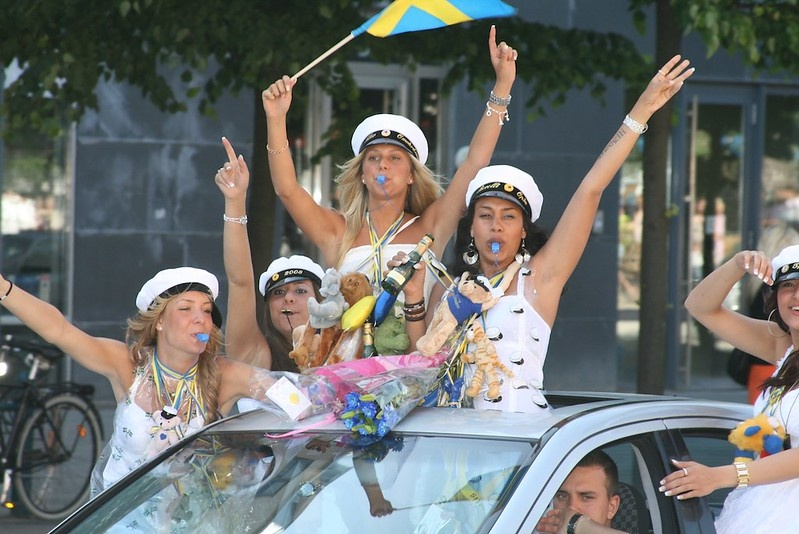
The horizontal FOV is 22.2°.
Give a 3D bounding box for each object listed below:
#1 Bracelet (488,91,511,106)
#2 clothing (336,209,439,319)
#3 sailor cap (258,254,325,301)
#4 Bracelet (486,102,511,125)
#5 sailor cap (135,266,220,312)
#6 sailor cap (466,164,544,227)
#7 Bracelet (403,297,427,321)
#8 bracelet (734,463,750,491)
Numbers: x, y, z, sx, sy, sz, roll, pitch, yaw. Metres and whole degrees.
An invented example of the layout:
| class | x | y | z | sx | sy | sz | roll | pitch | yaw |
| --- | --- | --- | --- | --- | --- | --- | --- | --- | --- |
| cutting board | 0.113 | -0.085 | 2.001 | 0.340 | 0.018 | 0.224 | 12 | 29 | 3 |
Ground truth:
| class | x | y | z | sx | sy | sz | roll | pitch | yaw |
| --- | --- | --- | --- | --- | --- | --- | --- | --- | --- |
| Bracelet | 0.810 | -1.330 | 16.221 | 0.142 | 0.073 | 0.128 | -5 | 12 | -43 |
| clothing | -0.132 | -0.026 | 16.322 | 0.603 | 0.660 | 0.287 | -3 | -18 | 28 |
| sailor cap | -0.868 | 0.110 | 16.752 | 0.478 | 0.252 | 0.613 | -13 | -23 | 8 |
| Bracelet | 0.776 | -1.242 | 16.298 | 0.155 | 0.113 | 0.211 | 2 | -22 | 3 |
| sailor cap | -1.759 | 0.139 | 15.955 | 0.433 | 0.191 | 0.402 | -15 | -29 | -9 |
| sailor cap | 0.818 | -0.604 | 15.927 | 0.467 | 0.248 | 0.572 | 0 | -12 | 7 |
| Bracelet | 0.119 | 0.333 | 15.681 | 0.153 | 0.148 | 0.162 | -3 | -8 | 26 |
| bracelet | 2.562 | 1.559 | 15.278 | 0.107 | 0.167 | 0.163 | -2 | 0 | -1 |
